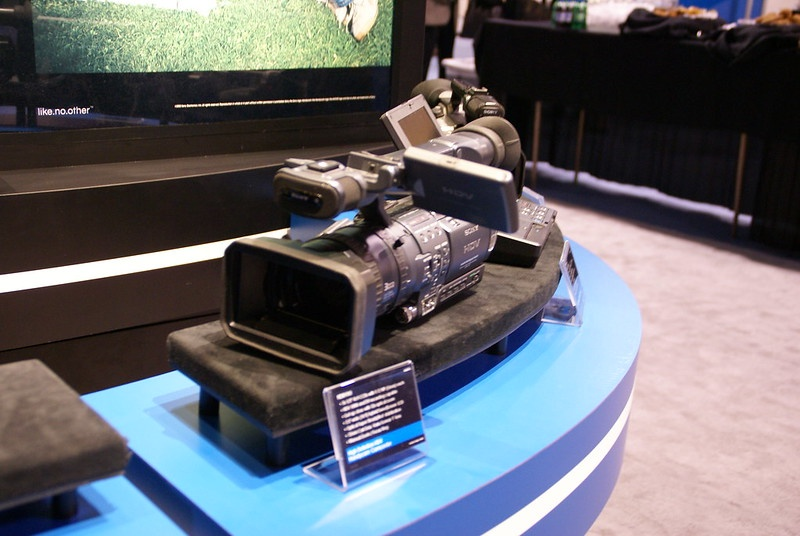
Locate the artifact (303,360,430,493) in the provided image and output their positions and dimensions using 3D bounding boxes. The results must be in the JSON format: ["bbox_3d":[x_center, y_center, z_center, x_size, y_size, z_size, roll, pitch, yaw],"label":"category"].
[{"bbox_3d":[-0.009,0.311,1.258,0.217,0.191,0.114,-28,-8,34],"label":"artifact"}]

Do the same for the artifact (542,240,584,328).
[{"bbox_3d":[0.458,0.053,1.728,0.111,0.192,0.202,3,21,15],"label":"artifact"}]
